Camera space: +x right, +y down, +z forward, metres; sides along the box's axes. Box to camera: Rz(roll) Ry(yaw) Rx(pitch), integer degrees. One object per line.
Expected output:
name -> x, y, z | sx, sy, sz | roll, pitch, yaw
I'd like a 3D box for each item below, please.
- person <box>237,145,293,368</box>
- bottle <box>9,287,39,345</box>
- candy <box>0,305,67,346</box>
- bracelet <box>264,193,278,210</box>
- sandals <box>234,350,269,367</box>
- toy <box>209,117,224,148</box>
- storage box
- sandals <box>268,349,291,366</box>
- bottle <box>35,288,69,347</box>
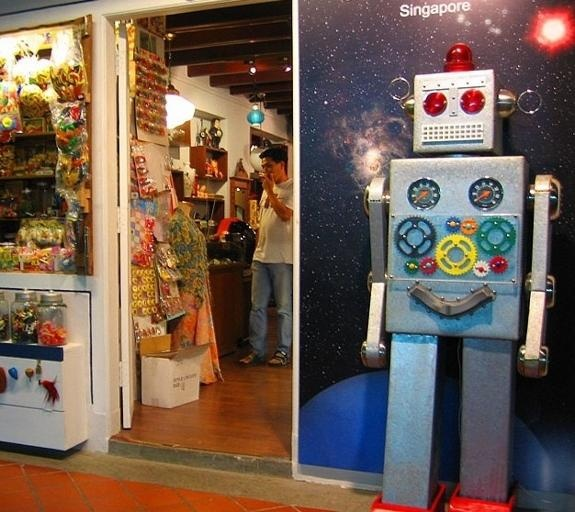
person -> -0.171, 0.033, 4.964 | 0.510, 1.984, 0.535 | -4, 10, -2
bottle -> -1.578, 0.370, 3.356 | 0.191, 0.314, 0.197 | 3, 5, 0
candy -> -1.479, 0.395, 3.271 | 0.268, 0.270, 0.242 | 2, -1, 23
bracelet -> -0.129, -0.490, 4.867 | 0.115, 0.044, 0.167 | -3, 18, 2
sandals -> -0.301, 0.947, 5.077 | 0.322, 0.134, 0.110 | 9, 2, -22
toy -> -1.103, -1.964, 8.789 | 0.208, 0.457, 0.440 | -4, 10, -4
storage box -> -0.828, 0.838, 4.053 | 0.363, 0.473, 0.339 | -2, -2, 30
sandals -> -0.058, 0.942, 5.054 | 0.104, 0.090, 0.193 | 1, -5, 17
bottle -> -1.404, 0.374, 3.333 | 0.176, 0.318, 0.167 | 4, 12, -1
